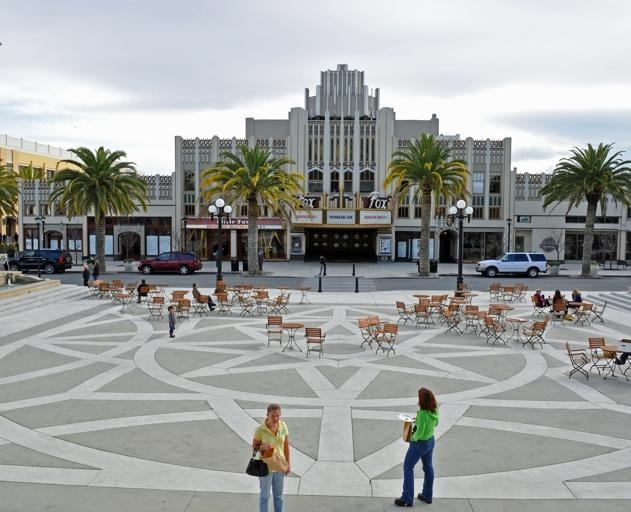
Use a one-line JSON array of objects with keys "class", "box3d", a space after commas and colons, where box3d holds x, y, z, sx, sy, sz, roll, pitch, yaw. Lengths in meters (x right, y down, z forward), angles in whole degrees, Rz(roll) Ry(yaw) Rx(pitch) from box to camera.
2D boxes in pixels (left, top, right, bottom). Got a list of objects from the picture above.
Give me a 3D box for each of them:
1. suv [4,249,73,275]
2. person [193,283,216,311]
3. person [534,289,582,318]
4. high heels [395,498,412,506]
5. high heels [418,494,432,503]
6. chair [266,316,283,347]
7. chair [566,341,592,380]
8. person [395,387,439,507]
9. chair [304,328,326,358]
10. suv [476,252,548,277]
[{"class": "suv", "box3d": [-17.562, 0.400, 50.534, 3.515, 1.523, 1.860, 2, 1, -2]}, {"class": "person", "box3d": [-4.536, 1.798, 32.707, 0.896, 1.210, 1.478, -2, 15, -8]}, {"class": "person", "box3d": [9.156, 1.834, 30.811, 1.314, 0.714, 1.312, -4, 5, -42]}, {"class": "high heels", "box3d": [1.893, 5.412, 17.379, 0.301, 0.145, 0.168, 12, 5, 31]}, {"class": "high heels", "box3d": [2.384, 5.368, 17.499, 0.118, 0.150, 0.330, -5, 18, -28]}, {"class": "chair", "box3d": [-1.398, 2.552, 27.431, 0.710, 1.163, 0.809, 0, 0, -2]}, {"class": "chair", "box3d": [7.854, 3.183, 23.982, 0.888, 1.441, 1.098, -1, 3, 19]}, {"class": "person", "box3d": [2.208, 4.205, 17.394, 0.892, 2.439, 0.667, -1, 14, -4]}, {"class": "chair", "box3d": [-0.039, 2.780, 25.660, 0.743, 1.108, 0.763, 0, 1, 7]}, {"class": "suv", "box3d": [12.040, 0.616, 49.322, 3.455, 1.438, 1.819, 2, 0, 0]}]
